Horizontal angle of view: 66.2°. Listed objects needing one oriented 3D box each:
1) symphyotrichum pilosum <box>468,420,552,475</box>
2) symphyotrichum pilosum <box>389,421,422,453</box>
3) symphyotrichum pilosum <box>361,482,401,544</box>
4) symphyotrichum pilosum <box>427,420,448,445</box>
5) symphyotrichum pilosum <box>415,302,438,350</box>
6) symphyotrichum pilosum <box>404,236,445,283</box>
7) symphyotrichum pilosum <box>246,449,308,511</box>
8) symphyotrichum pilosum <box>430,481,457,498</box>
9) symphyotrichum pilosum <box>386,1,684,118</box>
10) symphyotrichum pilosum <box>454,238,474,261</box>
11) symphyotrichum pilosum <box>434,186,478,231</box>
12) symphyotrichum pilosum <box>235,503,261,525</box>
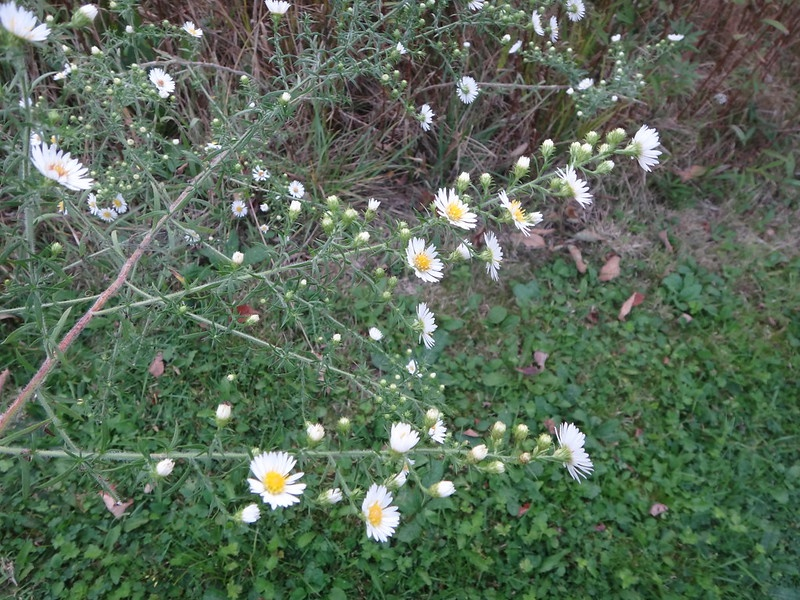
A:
[{"bbox_3d":[0.525,0.723,2.972,0.293,0.443,0.175,-6,98,3],"label":"symphyotrichum pilosum"},{"bbox_3d":[0.023,0.560,2.580,0.116,0.077,0.112,-12,27,-33],"label":"symphyotrichum pilosum"},{"bbox_3d":[-0.110,0.863,2.566,0.148,0.154,0.069,-11,100,-26],"label":"symphyotrichum pilosum"},{"bbox_3d":[0.154,0.607,2.758,0.106,0.031,0.115,-2,53,-39],"label":"symphyotrichum pilosum"},{"bbox_3d":[0.148,0.140,2.957,0.055,0.200,0.197,-10,33,21],"label":"symphyotrichum pilosum"},{"bbox_3d":[0.083,-0.165,2.826,0.192,0.069,0.187,-48,117,-48],"label":"symphyotrichum pilosum"},{"bbox_3d":[-0.529,0.723,2.506,0.185,0.190,0.087,-16,97,-21],"label":"symphyotrichum pilosum"},{"bbox_3d":[0.183,0.814,2.628,0.112,0.048,0.070,-1,75,-1],"label":"symphyotrichum pilosum"},{"bbox_3d":[0.862,-1.466,3.676,1.324,0.303,1.007,-26,67,-19],"label":"symphyotrichum pilosum"},{"bbox_3d":[0.299,-0.233,2.852,0.079,0.082,0.072,23,73,6],"label":"symphyotrichum pilosum"},{"bbox_3d":[0.242,-0.397,2.761,0.186,0.068,0.200,13,58,-41],"label":"symphyotrichum pilosum"},{"bbox_3d":[-0.614,0.870,2.525,0.121,0.073,0.076,7,47,-1],"label":"symphyotrichum pilosum"}]
